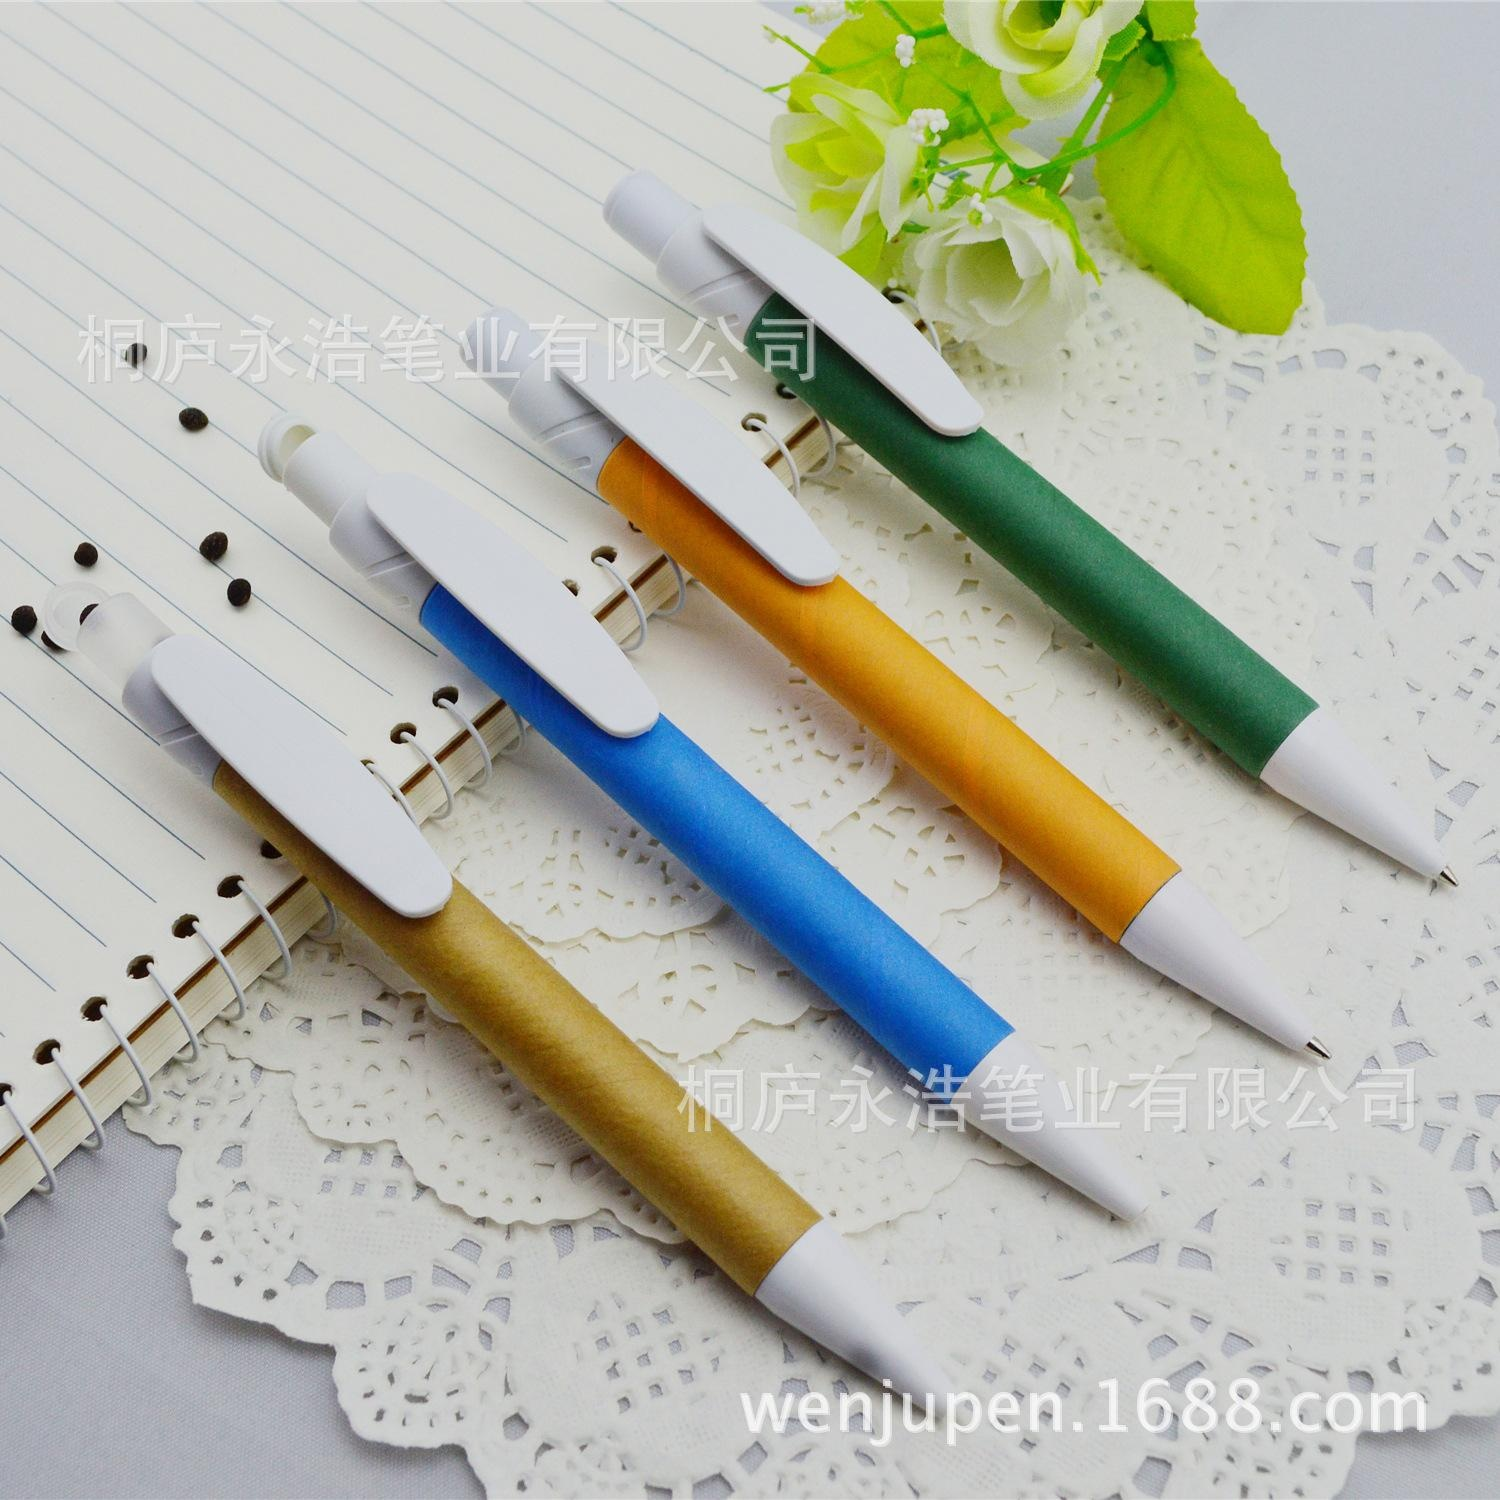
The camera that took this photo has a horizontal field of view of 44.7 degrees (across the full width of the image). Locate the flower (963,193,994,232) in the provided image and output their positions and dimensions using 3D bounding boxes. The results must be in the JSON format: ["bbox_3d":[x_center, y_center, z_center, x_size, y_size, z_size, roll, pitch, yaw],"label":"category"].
[{"bbox_3d":[0.104,-0.245,0.832,0.005,0.015,0.014,-10,15,-36],"label":"flower"}]
